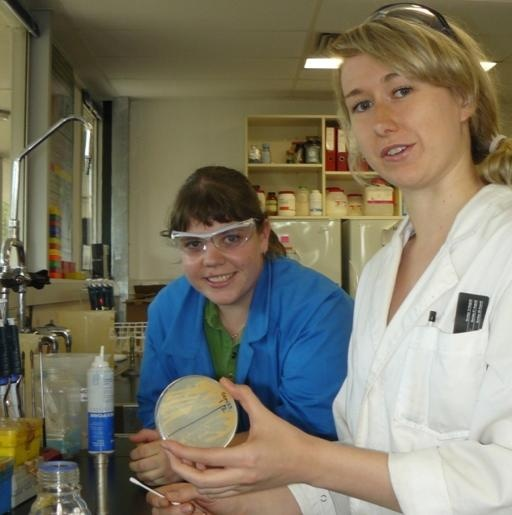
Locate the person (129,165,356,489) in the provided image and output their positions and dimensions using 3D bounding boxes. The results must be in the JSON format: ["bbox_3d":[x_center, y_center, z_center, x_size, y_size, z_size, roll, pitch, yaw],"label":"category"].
[{"bbox_3d":[-0.076,0.247,1.808,0.648,0.948,0.609,0,-8,5],"label":"person"}]

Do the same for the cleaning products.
[{"bbox_3d":[-0.436,0.395,1.528,0.068,0.277,0.139,-1,-3,-18],"label":"cleaning products"}]

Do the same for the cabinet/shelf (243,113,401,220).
[{"bbox_3d":[0.623,-0.846,5.132,1.368,0.924,0.414,-2,8,4],"label":"cabinet/shelf"}]

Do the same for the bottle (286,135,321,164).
[{"bbox_3d":[0.462,-1.006,5.154,0.277,0.287,0.246,5,4,20],"label":"bottle"}]

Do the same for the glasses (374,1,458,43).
[{"bbox_3d":[0.349,-0.520,1.175,0.119,0.039,0.126,23,-3,20],"label":"glasses"}]
